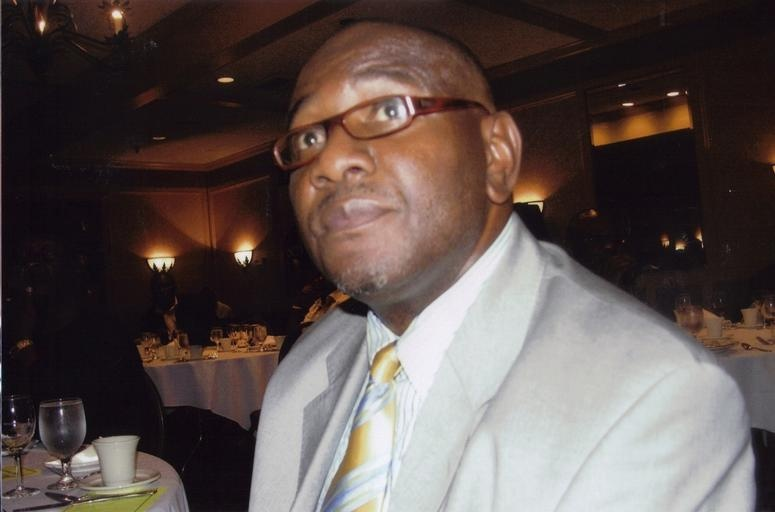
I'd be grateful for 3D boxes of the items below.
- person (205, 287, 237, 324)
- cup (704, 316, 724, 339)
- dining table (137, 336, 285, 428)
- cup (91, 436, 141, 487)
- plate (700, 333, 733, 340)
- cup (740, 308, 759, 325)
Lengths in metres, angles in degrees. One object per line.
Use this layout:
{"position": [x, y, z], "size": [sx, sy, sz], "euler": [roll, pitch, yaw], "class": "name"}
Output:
{"position": [-2.417, 0.702, 8.441], "size": [0.342, 0.476, 0.717], "euler": [-1, -6, -17], "class": "person"}
{"position": [2.296, 0.505, 4.232], "size": [0.150, 0.162, 0.161], "euler": [-1, -12, 0], "class": "cup"}
{"position": [-1.480, 1.100, 5.363], "size": [1.083, 0.555, 1.116], "euler": [-4, -12, 1], "class": "dining table"}
{"position": [-0.915, 0.697, 2.018], "size": [0.144, 0.155, 0.150], "euler": [-3, -14, -1], "class": "cup"}
{"position": [2.339, 0.574, 4.213], "size": [0.486, 0.049, 0.055], "euler": [3, -9, -34], "class": "plate"}
{"position": [2.897, 0.495, 4.788], "size": [0.123, 0.125, 0.139], "euler": [2, -18, 3], "class": "cup"}
